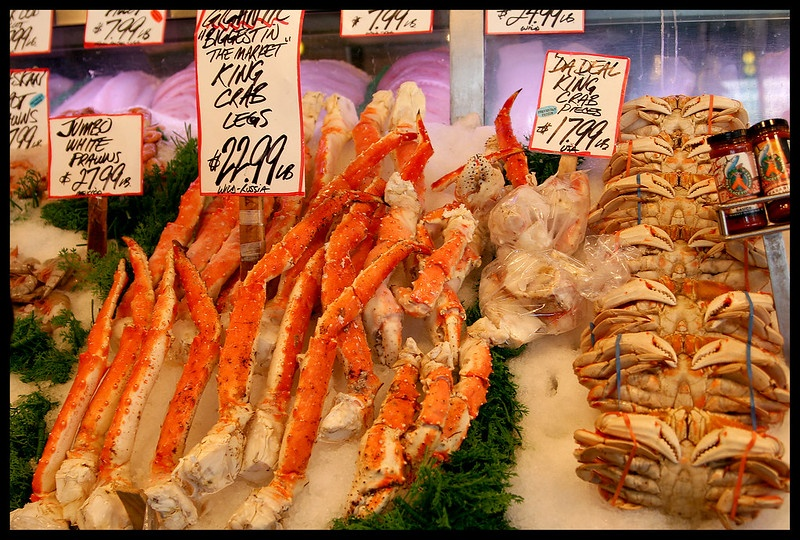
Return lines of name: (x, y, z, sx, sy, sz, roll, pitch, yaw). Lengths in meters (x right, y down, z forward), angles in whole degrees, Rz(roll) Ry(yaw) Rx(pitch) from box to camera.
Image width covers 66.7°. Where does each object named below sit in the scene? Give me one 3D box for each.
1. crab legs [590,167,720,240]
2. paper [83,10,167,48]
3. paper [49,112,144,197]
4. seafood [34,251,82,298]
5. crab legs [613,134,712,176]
crab legs: (1.319, -0.331, 3.117, 0.556, 0.338, 0.161, 9, -25, 19)
paper: (-1.687, -1.479, 3.717, 0.548, 0.219, 0.134, 1, -3, 18)
paper: (-1.687, -0.635, 3.378, 0.460, 0.533, 0.046, -2, 2, -1)
seafood: (-1.897, 0.045, 3.411, 0.203, 0.280, 0.067, 45, -16, 12)
crab legs: (1.365, -0.594, 3.195, 0.429, 0.129, 0.234, 2, 41, 16)
